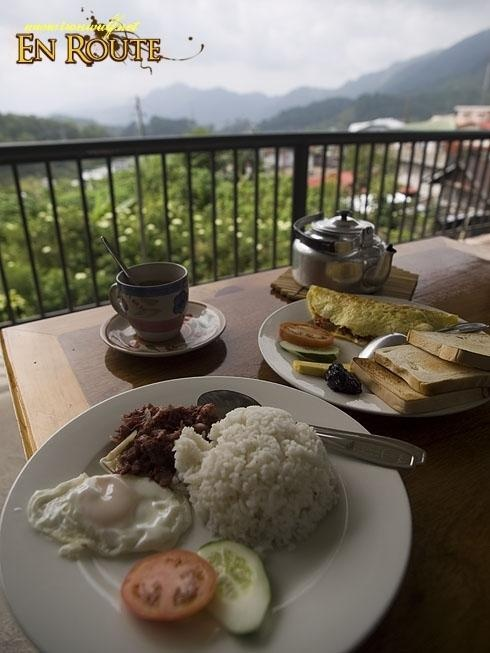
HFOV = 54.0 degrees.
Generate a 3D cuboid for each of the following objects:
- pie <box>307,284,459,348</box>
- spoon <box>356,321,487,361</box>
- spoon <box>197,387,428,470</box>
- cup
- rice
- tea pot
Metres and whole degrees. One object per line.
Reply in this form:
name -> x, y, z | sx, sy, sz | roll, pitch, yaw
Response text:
pie -> 0.272, -0.054, 0.985 | 0.324, 0.093, 0.246 | 10, 16, 37
spoon -> 0.329, -0.008, 0.902 | 0.258, 0.057, 0.186 | 10, 17, 39
spoon -> 0.130, 0.088, 0.753 | 0.390, 0.066, 0.275 | 0, 14, 18
cup -> -0.183, -0.046, 0.919 | 0.125, 0.099, 0.151 | -21, 31, -41
rice -> 0.018, 0.169, 0.523 | 0.157, 0.056, 0.141 | 10, 42, 9
tea pot -> 0.243, -0.193, 1.203 | 0.221, 0.198, 0.223 | 1, 14, 0
